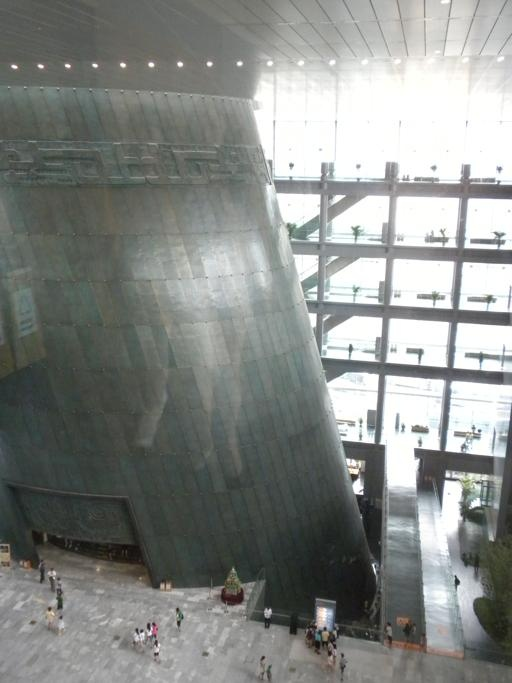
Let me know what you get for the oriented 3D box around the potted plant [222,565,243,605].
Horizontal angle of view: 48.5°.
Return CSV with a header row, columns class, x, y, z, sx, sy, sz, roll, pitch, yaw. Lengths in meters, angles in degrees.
class,x,y,z,sx,sy,sz,roll,pitch,yaw
potted plant,-0.538,5.820,13.586,0.533,0.787,0.347,3,5,-3
